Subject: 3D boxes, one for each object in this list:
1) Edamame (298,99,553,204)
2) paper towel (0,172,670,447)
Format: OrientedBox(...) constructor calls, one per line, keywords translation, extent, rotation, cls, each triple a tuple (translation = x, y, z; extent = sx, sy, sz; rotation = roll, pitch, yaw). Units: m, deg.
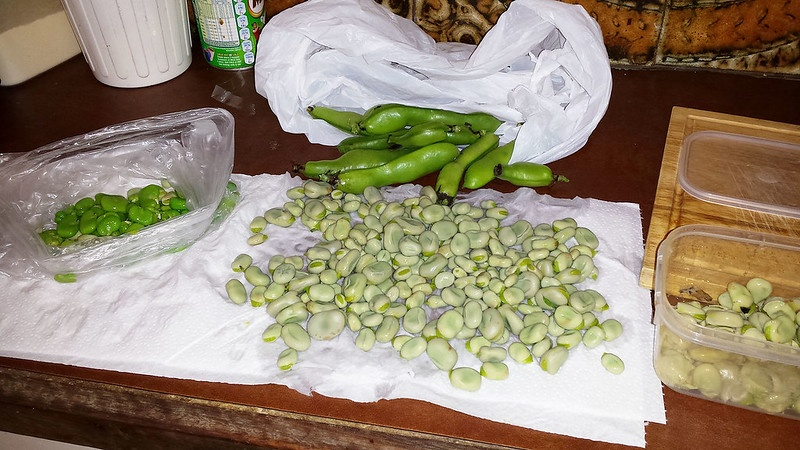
OrientedBox(translation=(0.066, -0.199, 1.434), extent=(0.569, 0.144, 0.322), rotation=(-4, 53, -8), cls="Edamame")
OrientedBox(translation=(-0.180, 0.144, 1.307), extent=(1.588, 0.230, 0.570), rotation=(5, 40, 5), cls="paper towel")
